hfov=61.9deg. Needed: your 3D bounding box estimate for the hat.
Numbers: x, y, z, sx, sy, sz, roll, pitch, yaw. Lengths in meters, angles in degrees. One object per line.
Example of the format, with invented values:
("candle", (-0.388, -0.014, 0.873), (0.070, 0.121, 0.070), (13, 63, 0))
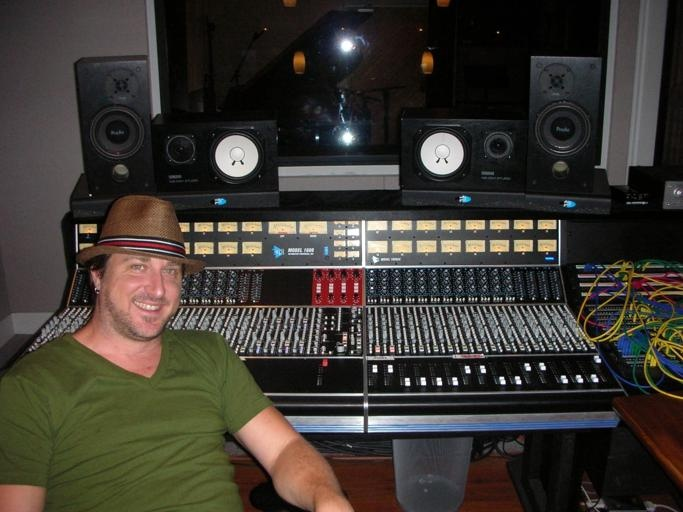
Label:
("hat", (-0.694, -0.086, 1.986), (0.275, 0.161, 0.298), (2, -10, 8))
